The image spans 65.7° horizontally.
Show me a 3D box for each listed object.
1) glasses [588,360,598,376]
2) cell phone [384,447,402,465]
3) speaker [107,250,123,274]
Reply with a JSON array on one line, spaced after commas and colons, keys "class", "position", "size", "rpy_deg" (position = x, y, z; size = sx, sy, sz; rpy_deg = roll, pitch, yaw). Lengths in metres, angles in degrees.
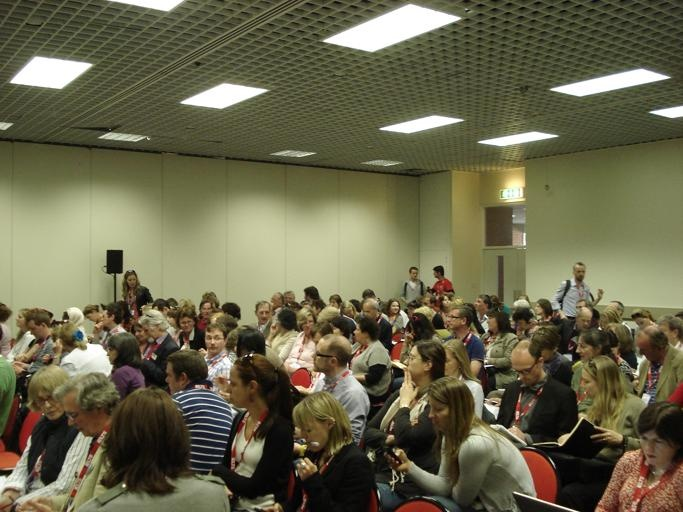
[{"class": "glasses", "position": [1.971, 0.885, 4.180], "size": [0.061, 0.103, 0.088], "rpy_deg": [-4, -21, 13]}, {"class": "cell phone", "position": [0.306, 1.181, 3.113], "size": [0.046, 0.040, 0.171], "rpy_deg": [-11, -44, 29]}, {"class": "speaker", "position": [-4.995, 0.133, 11.655], "size": [0.310, 0.536, 0.196], "rpy_deg": [1, -1, -30]}]
